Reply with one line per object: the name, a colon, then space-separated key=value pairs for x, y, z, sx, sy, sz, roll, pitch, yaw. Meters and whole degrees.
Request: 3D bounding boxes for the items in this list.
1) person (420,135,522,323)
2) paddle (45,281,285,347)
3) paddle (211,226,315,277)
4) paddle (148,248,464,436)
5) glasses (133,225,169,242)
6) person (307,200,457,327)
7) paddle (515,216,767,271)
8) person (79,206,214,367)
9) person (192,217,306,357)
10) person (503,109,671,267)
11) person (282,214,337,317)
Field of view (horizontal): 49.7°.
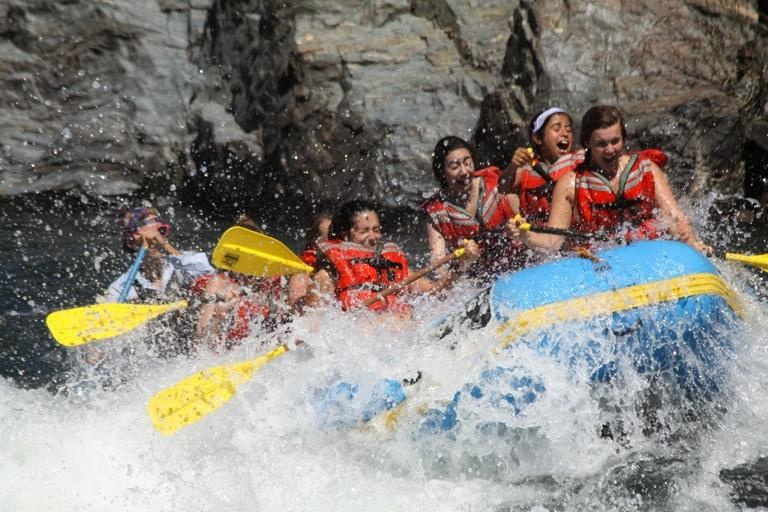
person: x=0.791 y=-0.357 z=7.234 sx=0.972 sy=0.505 sz=1.252 roll=-13 pitch=97 yaw=-2
paddle: x=-2.121 y=0.533 z=7.592 sx=1.745 sy=0.081 sz=0.459 roll=-9 pitch=83 yaw=-5
paddle: x=-1.020 y=0.013 z=7.200 sx=1.109 sy=0.071 sz=0.419 roll=16 pitch=90 yaw=40
paddle: x=-0.580 y=0.771 z=6.988 sx=2.910 sy=0.125 sz=0.371 roll=-30 pitch=93 yaw=-5
glasses: x=-2.166 y=-0.228 z=7.729 sx=0.205 sy=0.152 sz=0.076 roll=-18 pitch=87 yaw=8
person: x=-0.179 y=0.086 z=7.082 sx=0.878 sy=0.457 sz=1.160 roll=-14 pitch=82 yaw=-23
paddle: x=2.072 y=-0.088 z=6.914 sx=1.615 sy=0.287 sz=0.276 roll=6 pitch=53 yaw=6
person: x=-2.345 y=0.350 z=8.122 sx=1.205 sy=0.483 sz=1.433 roll=-29 pitch=77 yaw=-37
person: x=-1.220 y=0.285 z=7.417 sx=1.124 sy=0.434 sz=1.125 roll=27 pitch=106 yaw=3
person: x=1.748 y=-0.501 z=6.850 sx=1.454 sy=1.089 sz=1.235 roll=-13 pitch=105 yaw=8
person: x=-0.603 y=0.058 z=7.286 sx=0.370 sy=0.156 sz=0.920 roll=17 pitch=64 yaw=3
